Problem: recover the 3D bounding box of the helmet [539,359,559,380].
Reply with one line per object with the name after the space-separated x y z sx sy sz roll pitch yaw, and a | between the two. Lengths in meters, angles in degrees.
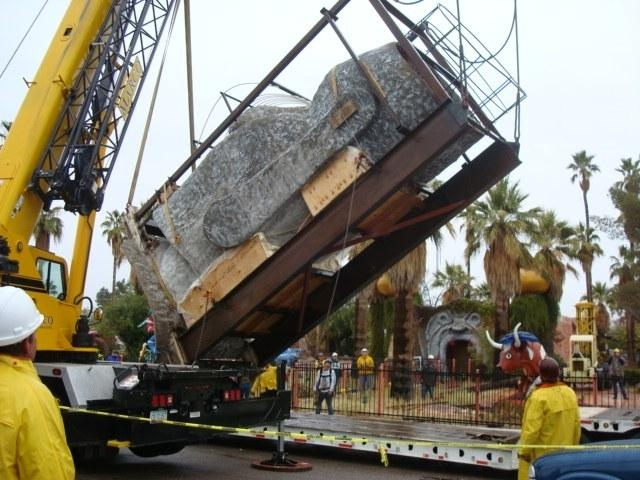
2.648 1.512 7.458 0.166 0.304 0.269 0 -15 7 | helmet
